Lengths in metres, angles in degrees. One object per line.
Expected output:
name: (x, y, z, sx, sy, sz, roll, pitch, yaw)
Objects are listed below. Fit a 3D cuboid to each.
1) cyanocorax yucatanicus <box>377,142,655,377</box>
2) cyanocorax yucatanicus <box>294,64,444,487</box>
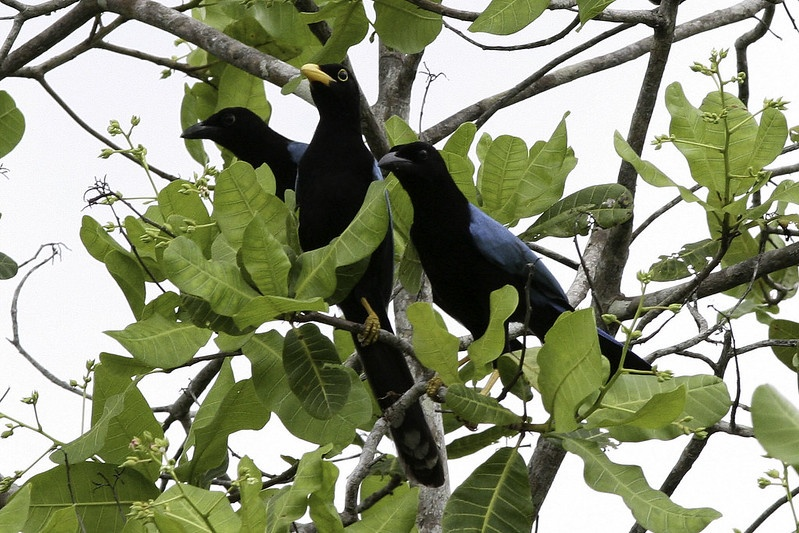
cyanocorax yucatanicus: (0.319, -0.070, 5.106, 0.783, 2.011, 1.248, 1, -90, -6)
cyanocorax yucatanicus: (-0.193, 0.015, 5.143, 0.743, 0.906, 1.832, 0, -93, -3)
